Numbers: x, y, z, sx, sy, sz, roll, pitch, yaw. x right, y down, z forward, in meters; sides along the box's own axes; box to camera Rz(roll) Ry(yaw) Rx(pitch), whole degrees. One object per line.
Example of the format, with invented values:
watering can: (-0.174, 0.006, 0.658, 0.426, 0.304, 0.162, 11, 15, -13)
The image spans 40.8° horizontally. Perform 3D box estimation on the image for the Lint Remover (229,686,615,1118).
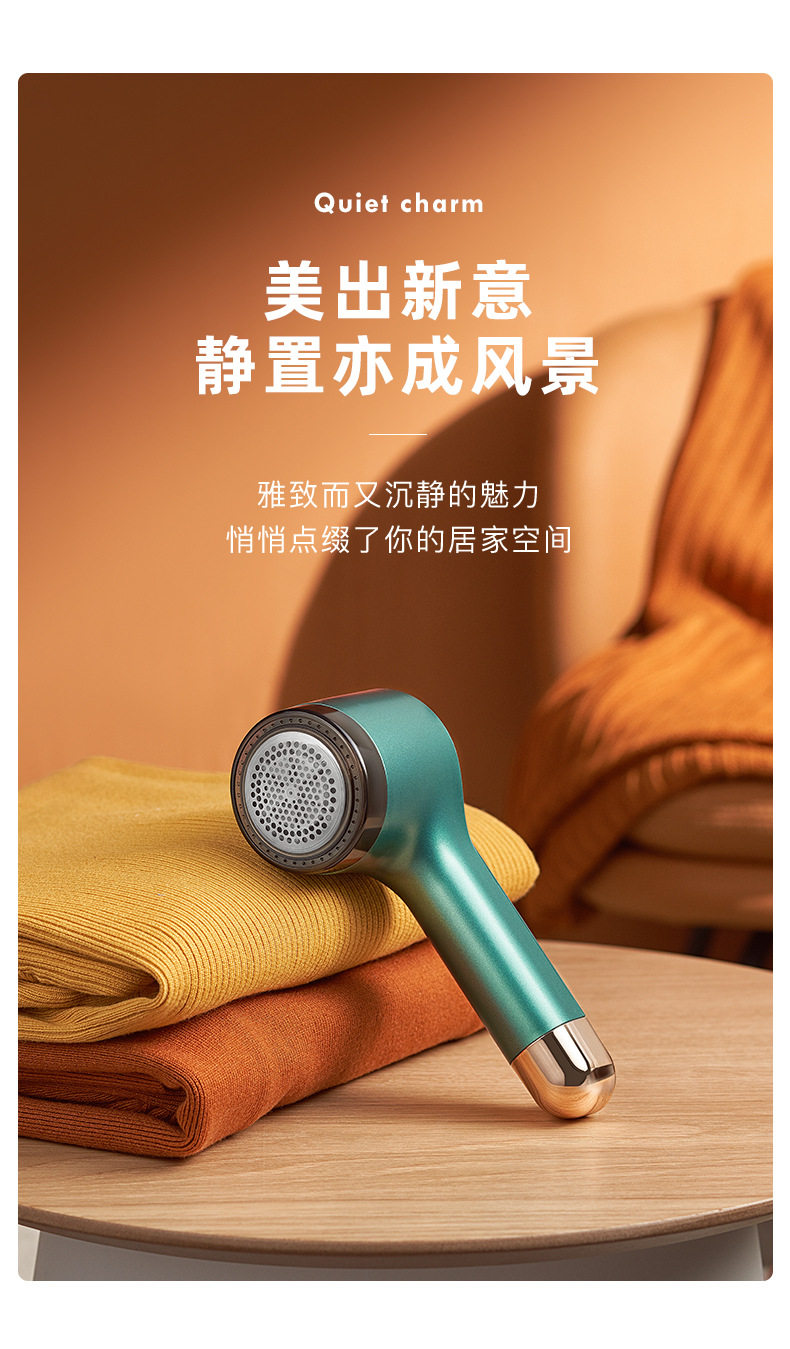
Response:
Lint Remover: (0.015, 0.106, 0.550, 0.283, 0.093, 0.141, 53, 31, 14)

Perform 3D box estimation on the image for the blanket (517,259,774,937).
blanket: (0.190, -0.046, 0.813, 0.183, 0.509, 0.072, 2, 0, 29)
